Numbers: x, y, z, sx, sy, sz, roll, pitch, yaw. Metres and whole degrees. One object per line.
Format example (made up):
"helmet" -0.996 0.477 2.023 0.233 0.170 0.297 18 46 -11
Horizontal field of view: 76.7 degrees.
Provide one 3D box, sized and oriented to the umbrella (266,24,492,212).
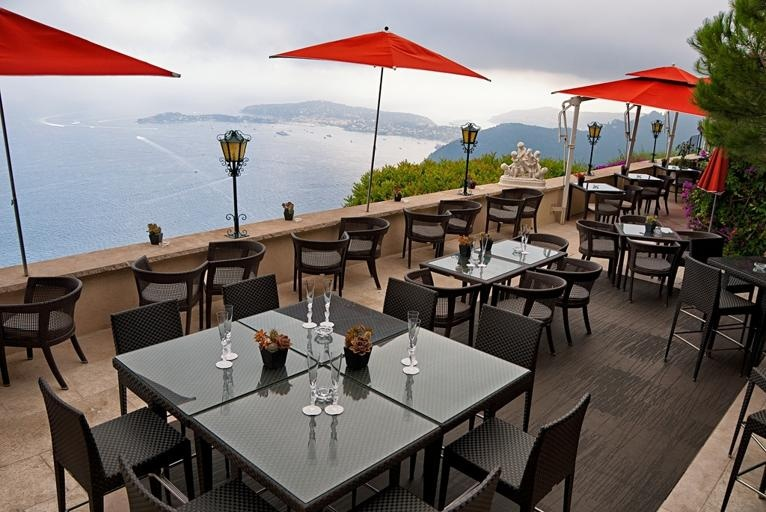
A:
"umbrella" -0.112 -2.360 7.579 2.435 2.101 2.372 -1 18 -20
